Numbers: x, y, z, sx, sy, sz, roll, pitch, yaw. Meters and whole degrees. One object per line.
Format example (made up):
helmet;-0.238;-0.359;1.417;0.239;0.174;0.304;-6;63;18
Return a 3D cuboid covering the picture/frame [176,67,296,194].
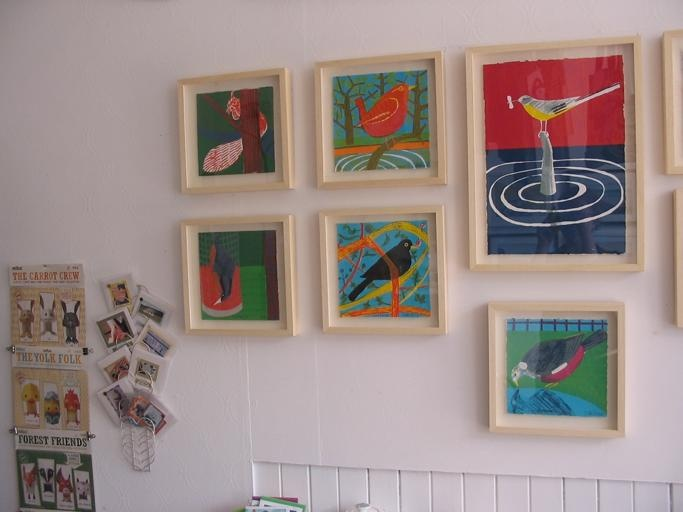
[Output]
picture/frame;-0.318;-0.401;2.371;0.392;0.390;0.029;-1;0;10

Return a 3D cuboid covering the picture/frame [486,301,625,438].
picture/frame;0.664;0.332;2.238;0.397;0.408;0.017;1;0;4

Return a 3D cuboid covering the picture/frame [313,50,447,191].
picture/frame;0.140;-0.420;2.299;0.421;0.403;0.032;-1;0;9

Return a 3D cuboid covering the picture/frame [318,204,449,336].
picture/frame;0.150;0.036;2.307;0.395;0.401;0.017;1;0;4

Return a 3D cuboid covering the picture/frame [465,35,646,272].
picture/frame;0.666;-0.314;2.225;0.693;0.936;0.047;0;4;12

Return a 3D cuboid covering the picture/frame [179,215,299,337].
picture/frame;-0.307;0.057;2.382;0.374;0.372;0.041;1;0;7
